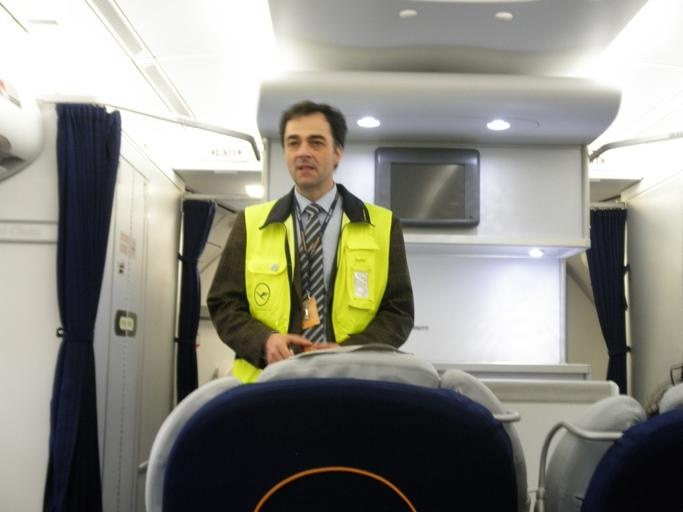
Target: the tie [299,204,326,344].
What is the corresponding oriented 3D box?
[{"bbox_3d":[-0.149,0.076,2.879,0.141,0.728,0.186,2,-7,-5],"label":"tie"}]
